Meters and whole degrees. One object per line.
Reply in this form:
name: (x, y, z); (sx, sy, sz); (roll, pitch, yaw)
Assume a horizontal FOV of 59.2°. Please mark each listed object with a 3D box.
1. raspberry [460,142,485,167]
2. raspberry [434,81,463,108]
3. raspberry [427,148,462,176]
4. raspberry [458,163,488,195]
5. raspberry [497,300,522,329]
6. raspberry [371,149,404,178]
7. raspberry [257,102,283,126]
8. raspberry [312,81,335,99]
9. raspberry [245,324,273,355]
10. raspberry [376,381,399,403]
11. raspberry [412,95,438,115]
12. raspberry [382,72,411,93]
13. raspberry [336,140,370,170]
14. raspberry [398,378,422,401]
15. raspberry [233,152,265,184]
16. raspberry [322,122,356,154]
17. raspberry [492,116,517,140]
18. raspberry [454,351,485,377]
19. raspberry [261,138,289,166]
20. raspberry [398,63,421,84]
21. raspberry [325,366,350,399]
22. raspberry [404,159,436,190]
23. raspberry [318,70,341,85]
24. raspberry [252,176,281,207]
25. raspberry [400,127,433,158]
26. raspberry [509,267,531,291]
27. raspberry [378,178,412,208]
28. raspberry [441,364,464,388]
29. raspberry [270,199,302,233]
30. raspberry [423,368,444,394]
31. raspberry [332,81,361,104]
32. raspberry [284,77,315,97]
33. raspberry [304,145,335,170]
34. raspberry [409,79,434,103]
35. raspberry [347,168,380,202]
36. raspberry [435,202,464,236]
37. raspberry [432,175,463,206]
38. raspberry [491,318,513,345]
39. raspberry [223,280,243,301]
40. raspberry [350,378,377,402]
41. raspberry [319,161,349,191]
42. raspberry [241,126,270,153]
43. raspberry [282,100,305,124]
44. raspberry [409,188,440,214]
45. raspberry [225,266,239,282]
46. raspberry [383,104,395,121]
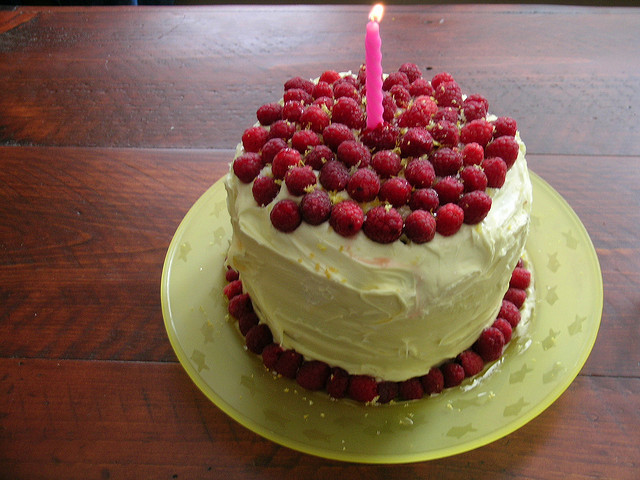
raspberry: (0.570, -0.318, 2.155); (0.080, 0.094, 0.083); (0, 39, 0)
raspberry: (0.529, -0.597, 2.318); (0.096, 0.109, 0.112); (-2, 24, -3)
raspberry: (0.461, -0.287, 2.082); (0.099, 0.096, 0.085); (0, 13, 24)
raspberry: (0.559, -0.223, 2.059); (0.099, 0.108, 0.088); (-4, 0, 9)
raspberry: (0.780, 0.306, 2.315); (0.081, 0.058, 0.102); (-3, 35, 0)
raspberry: (0.244, -0.278, 2.065); (0.095, 0.088, 0.092); (-5, 88, -19)
raspberry: (-0.210, -0.523, 2.329); (0.090, 0.084, 0.080); (-8, 2, -4)
raspberry: (0.010, -0.620, 2.345); (0.059, 0.078, 0.071); (3, 83, -2)
raspberry: (-0.246, 0.401, 2.273); (0.111, 0.062, 0.098); (-43, 85, -11)
raspberry: (0.261, 0.592, 2.179); (0.079, 0.042, 0.075); (3, 51, 3)
raspberry: (0.427, -0.548, 2.261); (0.093, 0.055, 0.080); (43, 33, 20)
raspberry: (0.321, -0.672, 2.382); (0.089, 0.115, 0.110); (9, 16, 4)
raspberry: (0.126, -0.317, 2.071); (0.099, 0.058, 0.103); (1, 38, -6)
raspberry: (0.350, 0.588, 2.186); (0.084, 0.056, 0.070); (-11, 52, -8)
raspberry: (-0.270, -0.276, 2.177); (0.115, 0.095, 0.104); (-1, 89, -1)
raspberry: (0.073, -0.388, 2.164); (0.118, 0.104, 0.097); (-2, 5, -41)
raspberry: (0.724, -0.459, 2.227); (0.083, 0.089, 0.071); (-14, 38, 2)
raspberry: (0.597, 0.483, 2.223); (0.090, 0.052, 0.096); (-19, 44, -14)
raspberry: (-0.181, -0.344, 2.197); (0.091, 0.111, 0.096); (-1, 36, -36)
raspberry: (0.399, -0.757, 2.509); (0.085, 0.102, 0.095); (-1, 1, -41)
raspberry: (0.071, 0.554, 2.177); (0.076, 0.034, 0.112); (-1, 57, 2)
raspberry: (0.364, -0.235, 2.094); (0.092, 0.111, 0.105); (-16, 50, -5)
raspberry: (0.040, -0.714, 2.474); (0.061, 0.046, 0.080); (-1, 18, 3)
raspberry: (-0.201, -0.183, 2.119); (0.076, 0.090, 0.100); (5, 23, 6)
raspberry: (0.364, -0.361, 2.071); (0.085, 0.067, 0.114); (-2, 10, -2)
raspberry: (0.848, 0.167, 2.387); (0.077, 0.102, 0.088); (7, 87, 1)
raspberry: (0.271, -0.169, 2.064); (0.112, 0.099, 0.087); (3, 36, -36)
raspberry: (0.520, 0.530, 2.195); (0.066, 0.050, 0.091); (15, 84, 21)
raspberry: (-0.124, -0.083, 2.012); (0.090, 0.063, 0.117); (-4, 85, -1)
raspberry: (0.443, 0.549, 2.179); (0.074, 0.095, 0.083); (0, 3, -4)
raspberry: (0.108, -0.607, 2.342); (0.076, 0.061, 0.098); (26, 12, -7)
raspberry: (-0.086, -0.660, 2.393); (0.107, 0.054, 0.087); (18, 17, -9)
raspberry: (-0.003, -0.305, 2.125); (0.096, 0.061, 0.083); (-31, 44, 0)
raspberry: (0.420, -0.630, 2.361); (0.082, 0.099, 0.097); (-5, 0, -3)
raspberry: (0.157, -0.193, 2.066); (0.090, 0.094, 0.117); (25, 45, 28)
raspberry: (0.459, -0.073, 2.048); (0.090, 0.117, 0.106); (6, 38, 4)
raspberry: (0.465, -0.179, 2.033); (0.082, 0.091, 0.103); (39, 17, 4)
raspberry: (0.740, 0.357, 2.268); (0.082, 0.105, 0.089); (-14, 16, 6)
raspberry: (-0.369, 0.212, 2.404); (0.064, 0.088, 0.049); (30, 17, -11)
raspberry: (0.167, 0.578, 2.165); (0.103, 0.055, 0.072); (3, 51, 3)
raspberry: (0.052, -0.230, 2.037); (0.095, 0.055, 0.104); (-4, 65, -1)
raspberry: (-0.245, -0.396, 2.209); (0.091, 0.108, 0.102); (0, 14, 4)
raspberry: (-0.107, -0.511, 2.245); (0.073, 0.083, 0.089); (6, 13, -7)
raspberry: (0.375, -0.136, 2.059); (0.084, 0.101, 0.092); (-4, 49, -7)
raspberry: (-0.385, 0.149, 2.452); (0.048, 0.039, 0.062); (-2, 29, 3)
raspberry: (0.276, -0.507, 2.249); (0.045, 0.040, 0.060); (6, 51, 5)
